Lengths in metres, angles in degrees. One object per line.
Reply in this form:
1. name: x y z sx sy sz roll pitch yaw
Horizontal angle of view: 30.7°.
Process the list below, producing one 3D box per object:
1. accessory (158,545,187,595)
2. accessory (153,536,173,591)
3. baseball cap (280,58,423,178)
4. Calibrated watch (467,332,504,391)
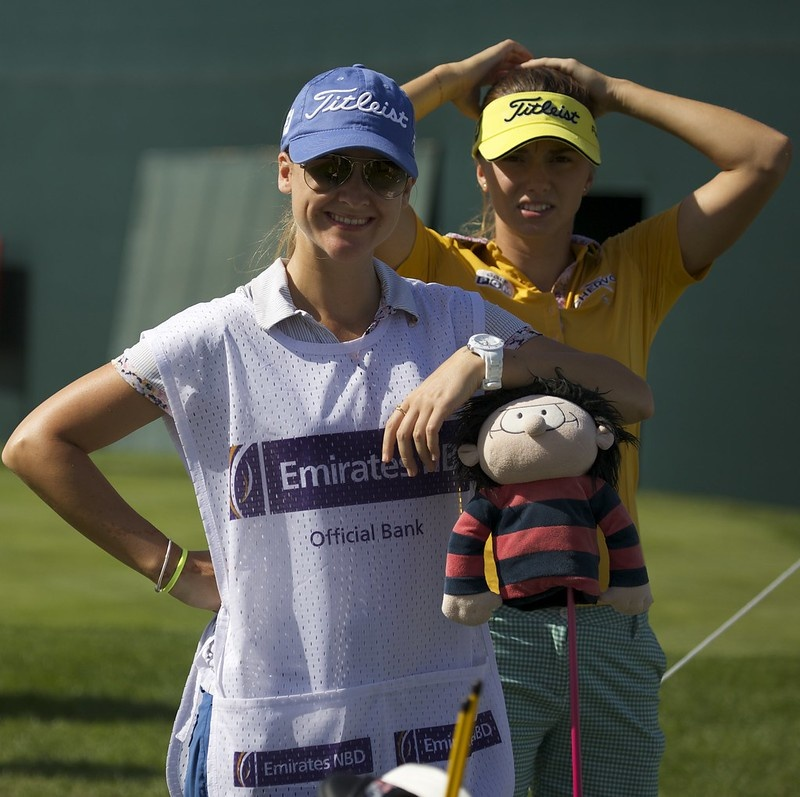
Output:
1. accessory: -0.564 0.428 3.654 0.028 0.095 0.102 24 -34 -14
2. accessory: -0.588 0.418 3.628 0.030 0.108 0.106 13 29 -17
3. baseball cap: -0.104 -0.655 3.427 0.252 0.174 0.324 7 6 -10
4. Calibrated watch: 0.210 -0.086 3.517 0.096 0.116 0.129 -4 29 -13
